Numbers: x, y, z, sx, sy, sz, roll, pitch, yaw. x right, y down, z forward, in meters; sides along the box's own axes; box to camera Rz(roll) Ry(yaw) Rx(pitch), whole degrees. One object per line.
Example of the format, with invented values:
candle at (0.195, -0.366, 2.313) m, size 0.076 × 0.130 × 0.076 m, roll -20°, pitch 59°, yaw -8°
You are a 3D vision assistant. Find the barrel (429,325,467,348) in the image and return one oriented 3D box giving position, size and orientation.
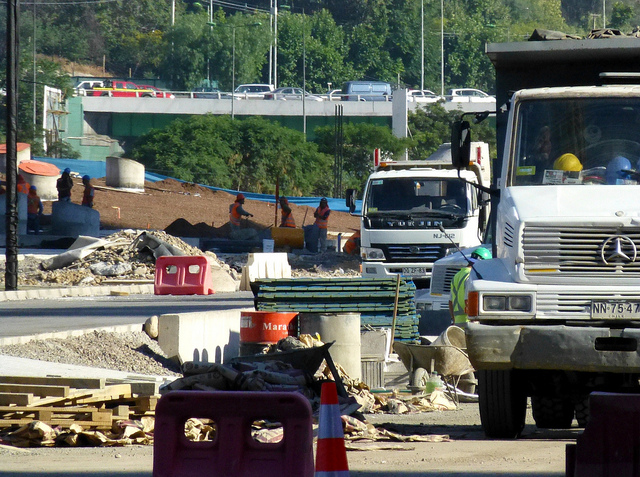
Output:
barrel at (5.487, 4.137, 86.159) m, size 0.979 × 1.071 × 1.038 m, roll -5°, pitch 21°, yaw -21°

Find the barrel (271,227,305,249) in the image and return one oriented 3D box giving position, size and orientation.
barrel at (-1.508, -0.069, 107.883) m, size 1.790 × 1.067 × 1.256 m, roll 3°, pitch -6°, yaw -4°

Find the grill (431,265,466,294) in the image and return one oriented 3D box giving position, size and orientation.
grill at (5.761, 1.812, 91.051) m, size 1.039 × 1.285 × 1.873 m, roll -1°, pitch -2°, yaw 39°

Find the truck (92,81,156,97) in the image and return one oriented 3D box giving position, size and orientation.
truck at (-14.326, -10.671, 150.939) m, size 4.944 × 1.778 × 1.841 m, roll 0°, pitch 6°, yaw 0°
